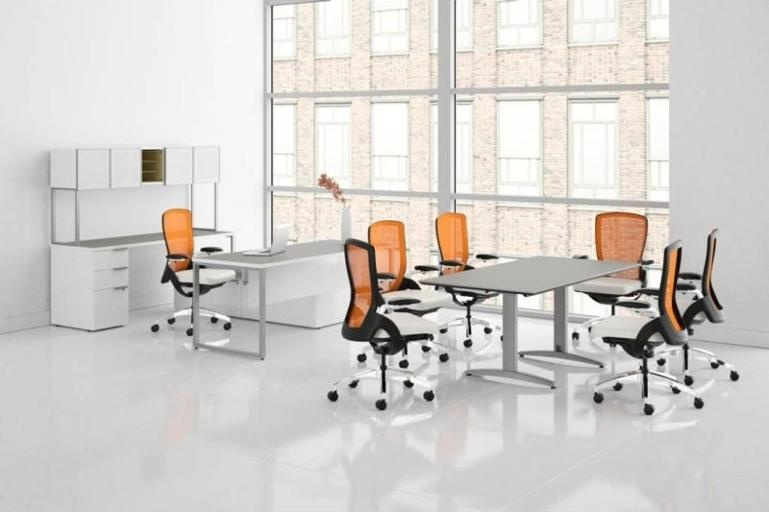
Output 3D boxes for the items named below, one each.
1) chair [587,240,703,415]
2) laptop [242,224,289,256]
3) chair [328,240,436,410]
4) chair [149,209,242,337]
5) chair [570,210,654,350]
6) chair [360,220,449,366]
[{"bbox_3d":[2.575,0.695,6.501,1.071,1.469,0.978,-2,-1,44],"label":"chair"},{"bbox_3d":[-1.485,-0.189,8.307,0.440,0.304,0.544,0,6,8],"label":"laptop"},{"bbox_3d":[-0.003,0.606,6.610,1.076,1.638,1.073,3,12,14],"label":"chair"},{"bbox_3d":[-2.635,0.187,9.009,1.226,1.615,1.191,11,11,44],"label":"chair"},{"bbox_3d":[2.848,0.261,8.235,1.080,1.484,1.030,-1,9,34],"label":"chair"},{"bbox_3d":[0.260,0.408,7.879,1.230,1.640,1.091,-2,9,-22],"label":"chair"}]
